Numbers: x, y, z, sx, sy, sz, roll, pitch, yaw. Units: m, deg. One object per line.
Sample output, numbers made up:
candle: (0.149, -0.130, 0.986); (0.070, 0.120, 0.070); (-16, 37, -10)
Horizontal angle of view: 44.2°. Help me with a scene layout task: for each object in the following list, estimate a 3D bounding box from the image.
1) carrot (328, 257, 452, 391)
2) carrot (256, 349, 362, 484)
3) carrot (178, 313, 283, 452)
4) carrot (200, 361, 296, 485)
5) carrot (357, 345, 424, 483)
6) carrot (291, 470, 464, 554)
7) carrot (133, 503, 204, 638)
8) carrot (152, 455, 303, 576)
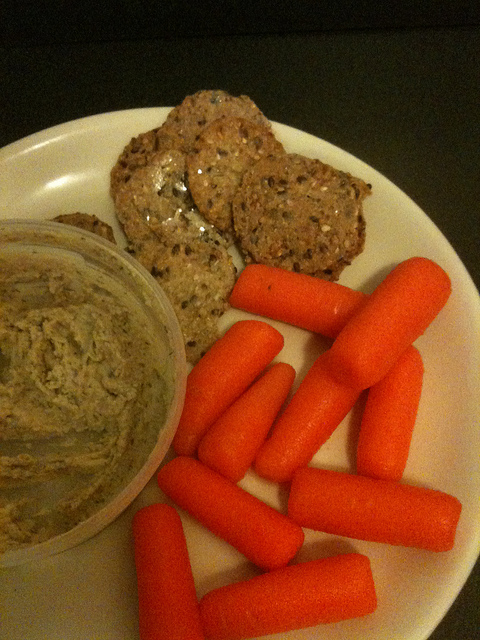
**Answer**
carrot: (0.321, -0.009, 1.230); (0.124, 0.146, 0.363); (41, 78, 11)
carrot: (0.132, 0.210, 1.267); (0.133, 0.126, 0.377); (37, 81, 18)
carrot: (-0.023, 0.127, 1.322); (0.153, 0.110, 0.329); (37, 80, 6)
carrot: (0.017, 0.211, 1.267); (0.132, 0.110, 0.291); (31, 67, 0)
carrot: (0.308, 0.192, 1.250); (0.108, 0.101, 0.298); (20, 74, 0)
carrot: (0.247, 0.362, 1.176); (0.397, 0.115, 0.125); (9, 48, 10)
carrot: (-0.145, 0.466, 1.095); (0.096, 0.133, 0.234); (-10, 74, -2)
carrot: (-0.018, 0.376, 1.206); (0.326, 0.117, 0.149); (37, 86, 4)
